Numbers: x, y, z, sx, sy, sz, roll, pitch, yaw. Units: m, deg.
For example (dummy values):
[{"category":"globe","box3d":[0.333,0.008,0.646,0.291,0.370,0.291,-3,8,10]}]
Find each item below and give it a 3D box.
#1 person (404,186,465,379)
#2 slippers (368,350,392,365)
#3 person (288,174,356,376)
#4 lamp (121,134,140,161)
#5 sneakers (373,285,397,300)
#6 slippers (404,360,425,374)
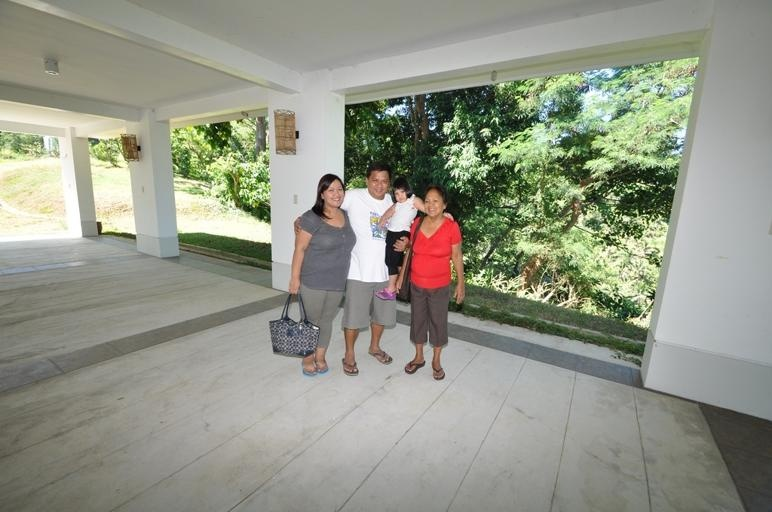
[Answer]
[{"category":"person","box3d":[0.498,0.310,4.454,0.695,2.137,0.269,6,13,14]},{"category":"slippers","box3d":[-0.044,1.197,4.784,0.132,0.061,0.262,-6,10,-39]},{"category":"person","box3d":[-0.679,0.093,4.309,0.691,1.887,0.251,-1,13,-13]},{"category":"lamp","box3d":[-5.680,-2.375,8.857,0.401,0.584,0.265,7,13,19]},{"category":"sneakers","box3d":[-0.009,0.409,4.442,0.114,0.079,0.207,27,10,35]},{"category":"slippers","box3d":[0.315,1.261,4.646,0.214,0.076,0.121,-5,7,-45]}]
